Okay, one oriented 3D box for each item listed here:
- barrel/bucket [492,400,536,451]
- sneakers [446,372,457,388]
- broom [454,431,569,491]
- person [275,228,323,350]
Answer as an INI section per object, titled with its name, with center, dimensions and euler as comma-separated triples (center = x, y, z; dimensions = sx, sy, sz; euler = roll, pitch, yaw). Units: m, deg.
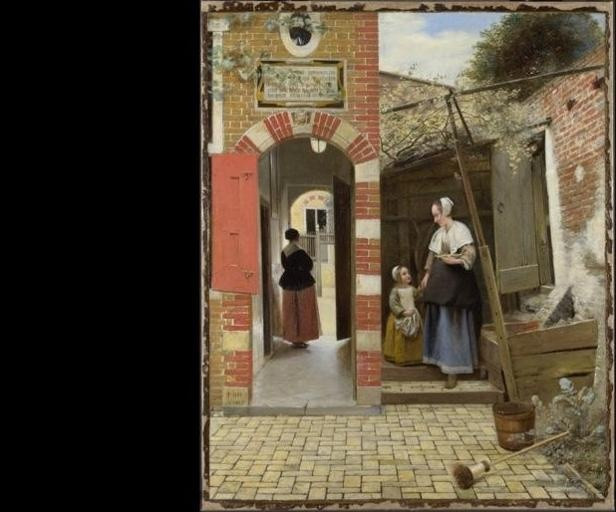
[barrel/bucket]
center = 2.109, 1.757, 6.980
dimensions = 0.395, 0.365, 0.385
euler = 1, -3, 0
[sneakers]
center = 1.769, 1.518, 8.340
dimensions = 0.147, 0.147, 0.203
euler = 0, 13, 8
[broom]
center = 1.890, 1.924, 6.570
dimensions = 1.243, 0.279, 0.380
euler = -8, 14, -25
[person]
center = -0.150, 0.567, 11.022
dimensions = 0.619, 1.952, 0.591
euler = -2, 12, -1
